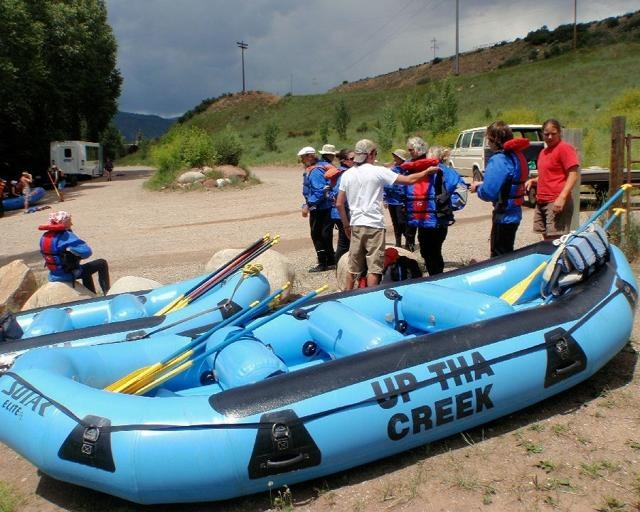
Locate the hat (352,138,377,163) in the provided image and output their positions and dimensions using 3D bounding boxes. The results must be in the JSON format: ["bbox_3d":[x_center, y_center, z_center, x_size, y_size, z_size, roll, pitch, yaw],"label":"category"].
[{"bbox_3d":[0.509,-1.224,7.387,0.241,0.265,0.357,-4,12,2],"label":"hat"}]

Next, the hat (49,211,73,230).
[{"bbox_3d":[-3.352,-0.457,8.210,0.255,0.257,0.287,-10,14,-24],"label":"hat"}]

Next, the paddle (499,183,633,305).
[{"bbox_3d":[2.905,-0.082,6.808,2.192,0.497,0.716,-33,40,-21],"label":"paddle"}]

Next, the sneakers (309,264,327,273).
[{"bbox_3d":[-0.034,0.200,10.490,0.338,0.131,0.118,0,18,-2],"label":"sneakers"}]

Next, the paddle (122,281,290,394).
[{"bbox_3d":[-1.180,0.893,5.708,1.249,0.163,0.253,-35,9,-2],"label":"paddle"}]

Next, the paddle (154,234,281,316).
[{"bbox_3d":[-1.430,0.253,8.673,2.070,0.173,0.239,-30,-17,-12],"label":"paddle"}]

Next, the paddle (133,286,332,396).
[{"bbox_3d":[-0.812,0.835,6.018,1.745,0.126,0.297,-26,-1,-7],"label":"paddle"}]

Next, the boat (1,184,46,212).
[{"bbox_3d":[-10.499,-1.911,22.805,1.619,0.545,1.015,-20,37,-34],"label":"boat"}]
